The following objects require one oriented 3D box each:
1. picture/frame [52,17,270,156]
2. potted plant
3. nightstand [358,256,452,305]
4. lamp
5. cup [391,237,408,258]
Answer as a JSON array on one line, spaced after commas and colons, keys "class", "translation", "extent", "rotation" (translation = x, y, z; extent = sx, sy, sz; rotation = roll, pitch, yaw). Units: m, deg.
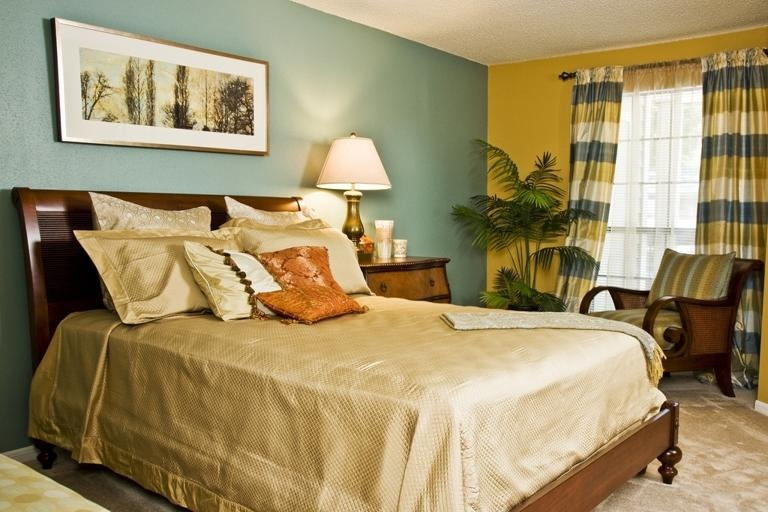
[{"class": "picture/frame", "translation": [-1.504, -1.155, 3.757], "extent": [0.041, 0.757, 1.672], "rotation": [17, 17, 30]}, {"class": "potted plant", "translation": [2.015, -0.314, 6.241], "extent": [2.022, 2.027, 1.894], "rotation": [0, 0, -25]}, {"class": "nightstand", "translation": [0.173, 0.182, 4.480], "extent": [0.714, 0.512, 0.462], "rotation": [-6, 8, -42]}, {"class": "lamp", "translation": [-0.256, -0.552, 4.457], "extent": [0.714, 0.938, 0.731], "rotation": [2, 4, 35]}, {"class": "cup", "translation": [0.128, -0.071, 4.758], "extent": [0.182, 0.176, 0.177], "rotation": [0, 0, 0]}]
